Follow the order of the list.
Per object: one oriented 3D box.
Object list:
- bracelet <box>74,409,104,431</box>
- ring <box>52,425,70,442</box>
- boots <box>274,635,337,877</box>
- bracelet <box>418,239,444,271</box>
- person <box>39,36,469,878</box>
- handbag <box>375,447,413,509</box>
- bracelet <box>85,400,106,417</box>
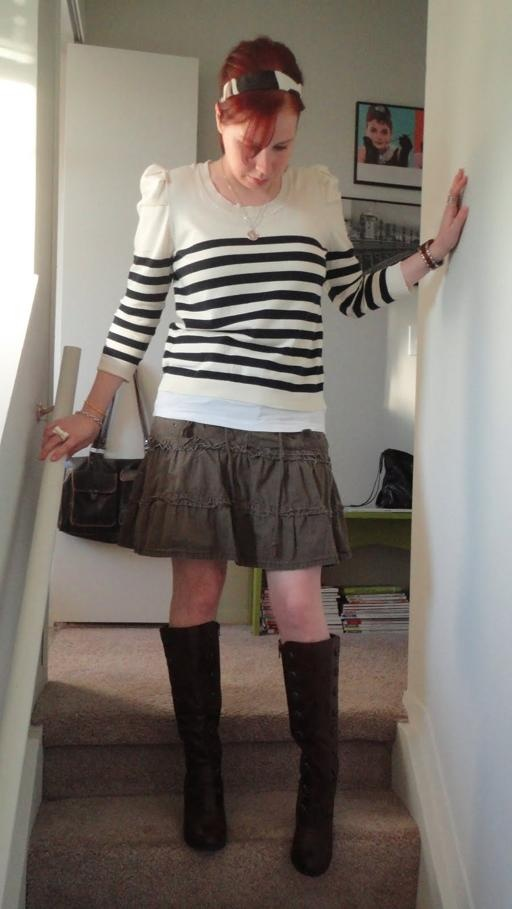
[{"bbox_3d":[-0.280,-0.060,1.137,0.028,0.011,0.035,33,9,15],"label":"bracelet"},{"bbox_3d":[-0.305,-0.034,1.046,0.025,0.019,0.009,41,14,21],"label":"ring"},{"bbox_3d":[0.079,0.485,1.080,0.099,0.366,0.146,2,18,2],"label":"boots"},{"bbox_3d":[0.288,-0.335,1.126,0.034,0.060,0.051,-3,8,15],"label":"bracelet"},{"bbox_3d":[-0.006,-0.013,1.157,0.534,1.282,0.555,12,21,30],"label":"person"},{"bbox_3d":[0.537,0.102,2.607,0.125,0.247,0.161,9,13,44],"label":"handbag"},{"bbox_3d":[-0.272,-0.077,1.134,0.027,0.024,0.029,1,3,-17],"label":"bracelet"}]
